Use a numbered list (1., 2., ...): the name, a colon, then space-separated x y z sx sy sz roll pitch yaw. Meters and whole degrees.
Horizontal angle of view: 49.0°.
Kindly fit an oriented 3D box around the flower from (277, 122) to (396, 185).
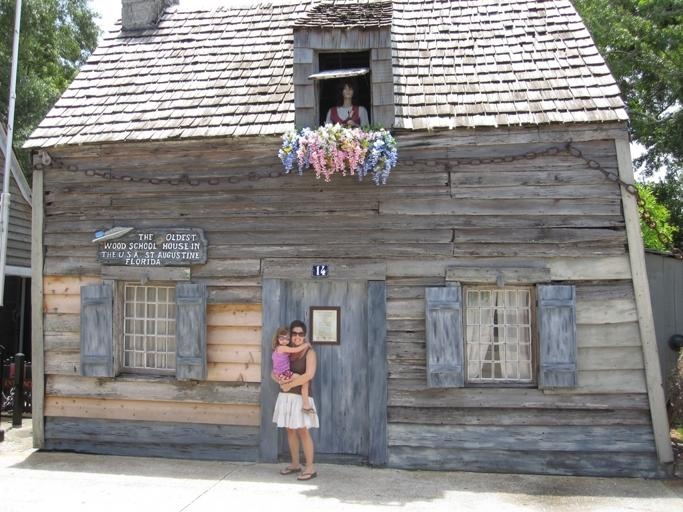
1. flower: 0.199 -1.530 10.275 1.269 0.647 0.690 12 -38 36

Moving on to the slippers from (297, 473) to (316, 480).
1. slippers: -0.440 2.961 9.733 0.198 0.049 0.096 6 -14 -26

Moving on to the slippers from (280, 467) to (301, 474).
1. slippers: -0.674 2.941 9.928 0.205 0.053 0.102 4 -7 -16

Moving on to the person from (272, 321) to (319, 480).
1. person: -0.605 1.922 9.842 0.571 2.193 0.738 -1 12 -4
